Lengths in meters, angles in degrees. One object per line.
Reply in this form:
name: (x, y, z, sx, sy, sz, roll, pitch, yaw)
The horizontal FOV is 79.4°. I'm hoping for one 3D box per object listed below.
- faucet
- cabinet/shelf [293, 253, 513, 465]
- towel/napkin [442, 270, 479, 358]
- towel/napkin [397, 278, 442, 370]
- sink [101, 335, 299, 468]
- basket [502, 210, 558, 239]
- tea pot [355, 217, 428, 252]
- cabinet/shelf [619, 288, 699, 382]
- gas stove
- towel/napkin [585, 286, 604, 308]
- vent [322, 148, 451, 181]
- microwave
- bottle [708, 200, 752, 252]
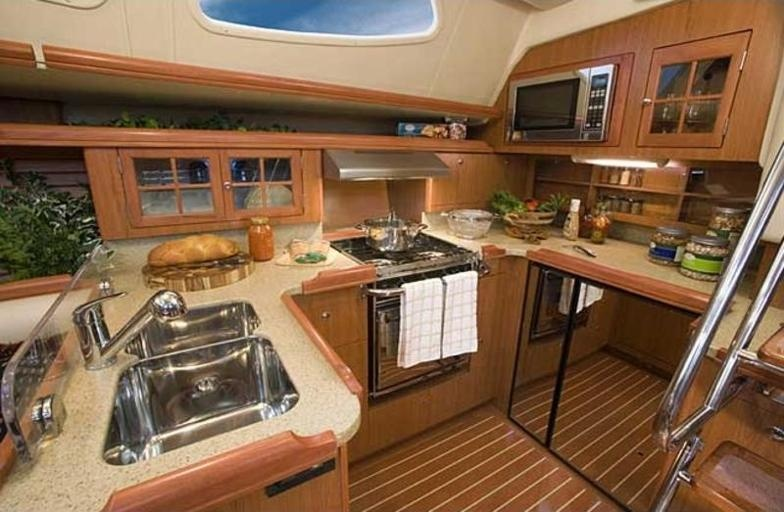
faucet: (-1.089, 0.314, 1.985, 0.445, 0.335, 0.180, 2, 18, 15)
cabinet/shelf: (0.046, 0.567, 2.730, 1.193, 0.890, 0.540, -14, 27, -29)
towel/napkin: (0.412, 0.358, 2.937, 0.274, 0.512, 0.121, -7, 19, -12)
towel/napkin: (0.174, 0.425, 2.842, 0.356, 0.565, 0.125, -16, 22, -36)
sink: (-0.859, 0.636, 2.135, 0.696, 0.224, 0.506, -8, 25, -30)
basket: (0.960, -0.234, 3.311, 0.271, 0.116, 0.251, -2, 13, 2)
tea pot: (-0.016, -0.154, 3.042, 0.390, 0.123, 0.243, -8, 27, -18)
cabinet/shelf: (1.420, 0.402, 2.498, 0.251, 0.384, 0.441, -20, 28, -34)
gas stove: (0.059, -0.031, 3.117, 0.795, 0.183, 0.607, -10, 17, -24)
towel/napkin: (1.194, 0.240, 2.804, 0.097, 0.127, 0.028, 11, 23, 37)
vent: (-0.012, -0.617, 3.119, 0.849, 0.214, 0.241, -11, 18, -27)
microwave: (1.104, -0.997, 3.167, 0.485, 0.495, 0.812, -17, 28, -31)
bottle: (1.874, -0.157, 2.661, 0.167, 0.217, 0.182, -3, 17, 1)
